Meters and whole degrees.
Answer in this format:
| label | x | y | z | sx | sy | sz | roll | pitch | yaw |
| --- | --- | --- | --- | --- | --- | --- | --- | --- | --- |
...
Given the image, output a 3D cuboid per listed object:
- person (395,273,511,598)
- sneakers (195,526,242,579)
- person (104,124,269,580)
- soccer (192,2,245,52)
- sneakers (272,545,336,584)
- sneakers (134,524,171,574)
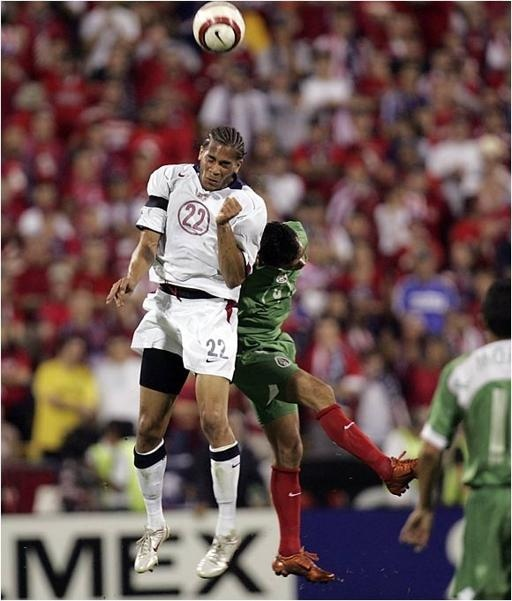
| label | x | y | z | sx | sy | sz | roll | pitch | yaw |
| --- | --- | --- | --- | --- | --- | --- | --- | --- | --- |
| person | 1.000 | 0.843 | 4.269 | 0.530 | 1.291 | 0.265 | -1 | -5 | 8 |
| sneakers | -0.200 | 1.339 | 4.519 | 0.129 | 0.350 | 0.134 | 30 | -41 | 13 |
| person | -0.333 | 0.271 | 4.536 | 0.769 | 2.424 | 0.514 | -2 | -5 | 14 |
| soccer | -0.234 | -1.585 | 5.010 | 0.354 | 0.204 | 0.297 | 6 | -50 | -11 |
| sneakers | 0.233 | 1.537 | 5.031 | 0.487 | 0.194 | 0.144 | 5 | 5 | -3 |
| sneakers | -0.570 | 1.333 | 4.709 | 0.129 | 0.312 | 0.143 | 8 | -37 | 17 |
